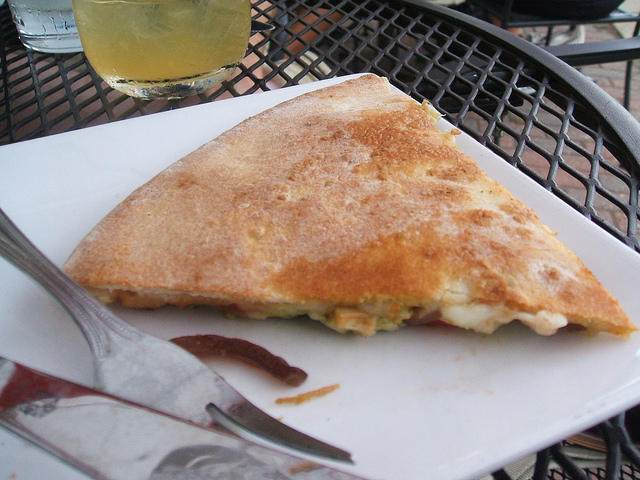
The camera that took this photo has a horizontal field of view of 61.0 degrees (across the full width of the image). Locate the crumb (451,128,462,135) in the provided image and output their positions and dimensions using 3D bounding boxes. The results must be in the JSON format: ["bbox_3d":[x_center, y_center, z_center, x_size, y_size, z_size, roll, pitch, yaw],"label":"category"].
[{"bbox_3d":[0.286,-0.227,1.143,0.012,0.003,0.012,8,67,16],"label":"crumb"}]
